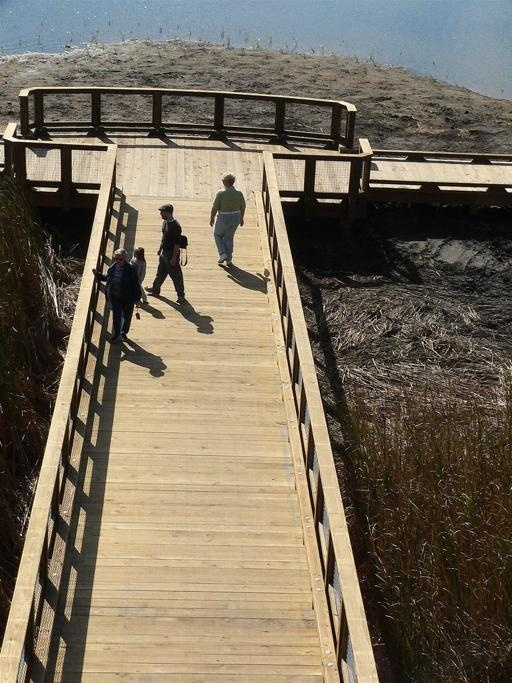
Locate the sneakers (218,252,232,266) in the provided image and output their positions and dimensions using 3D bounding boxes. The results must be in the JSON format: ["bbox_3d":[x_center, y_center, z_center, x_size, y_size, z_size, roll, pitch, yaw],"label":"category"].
[{"bbox_3d":[-0.448,-1.192,8.803,0.085,0.184,0.265,18,14,-17],"label":"sneakers"}]

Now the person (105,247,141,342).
[{"bbox_3d":[-1.457,-0.517,6.707,0.377,1.121,0.383,0,28,-13],"label":"person"}]

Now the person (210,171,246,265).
[{"bbox_3d":[-0.404,-1.693,8.462,0.506,1.354,0.368,-8,31,-25],"label":"person"}]

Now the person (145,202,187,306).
[{"bbox_3d":[-1.214,-1.118,8.156,0.680,1.574,0.573,-15,61,-22],"label":"person"}]
